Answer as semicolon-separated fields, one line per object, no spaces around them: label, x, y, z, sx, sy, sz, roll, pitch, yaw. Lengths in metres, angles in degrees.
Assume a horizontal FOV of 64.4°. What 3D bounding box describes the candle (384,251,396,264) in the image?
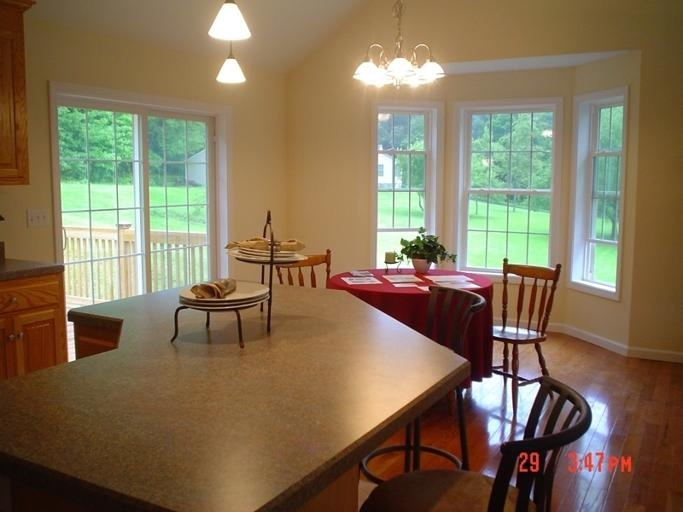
candle;0.404;0.014;4.435;0.095;0.092;0.095;2;-1;-40

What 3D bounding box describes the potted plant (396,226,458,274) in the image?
potted plant;0.715;-0.106;4.505;0.450;0.339;0.461;0;5;13
